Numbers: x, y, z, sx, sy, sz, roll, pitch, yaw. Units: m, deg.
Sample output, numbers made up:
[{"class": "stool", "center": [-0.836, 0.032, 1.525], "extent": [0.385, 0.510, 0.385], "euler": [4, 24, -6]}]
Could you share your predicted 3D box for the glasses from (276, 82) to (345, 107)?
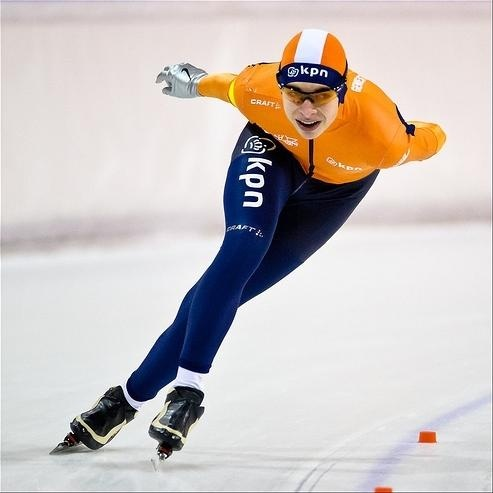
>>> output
[{"class": "glasses", "center": [0.145, -0.345, 1.599], "extent": [0.091, 0.058, 0.122], "euler": [3, 23, 25]}]

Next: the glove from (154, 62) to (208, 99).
[{"class": "glove", "center": [-0.185, -0.468, 2.069], "extent": [0.128, 0.117, 0.147], "euler": [-1, 27, 24]}]
